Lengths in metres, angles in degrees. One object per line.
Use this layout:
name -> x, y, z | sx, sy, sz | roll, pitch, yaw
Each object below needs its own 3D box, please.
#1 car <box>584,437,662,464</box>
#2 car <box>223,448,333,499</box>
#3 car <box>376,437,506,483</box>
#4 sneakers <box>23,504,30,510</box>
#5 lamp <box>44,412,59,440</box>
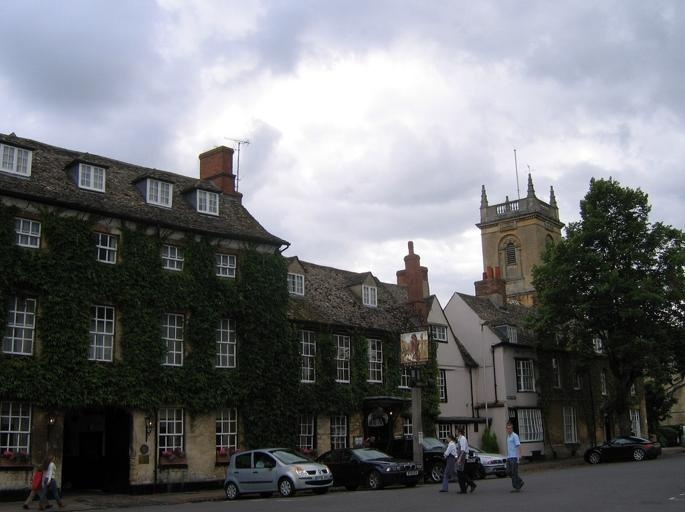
car -> 15.848, 10.926, 43.737 | 3.596, 1.218, 1.730 | -4, -14, 19
car -> -2.699, 8.781, 31.526 | 3.540, 1.534, 2.193 | -15, -22, 29
car -> 4.138, 9.784, 37.520 | 5.121, 1.770, 2.381 | -16, -20, 41
sneakers -> -11.687, 9.192, 28.528 | 0.324, 0.224, 0.125 | -2, -10, 7
lamp -> -11.882, 6.921, 31.609 | 0.542, 1.182, 0.257 | 2, -16, -22
